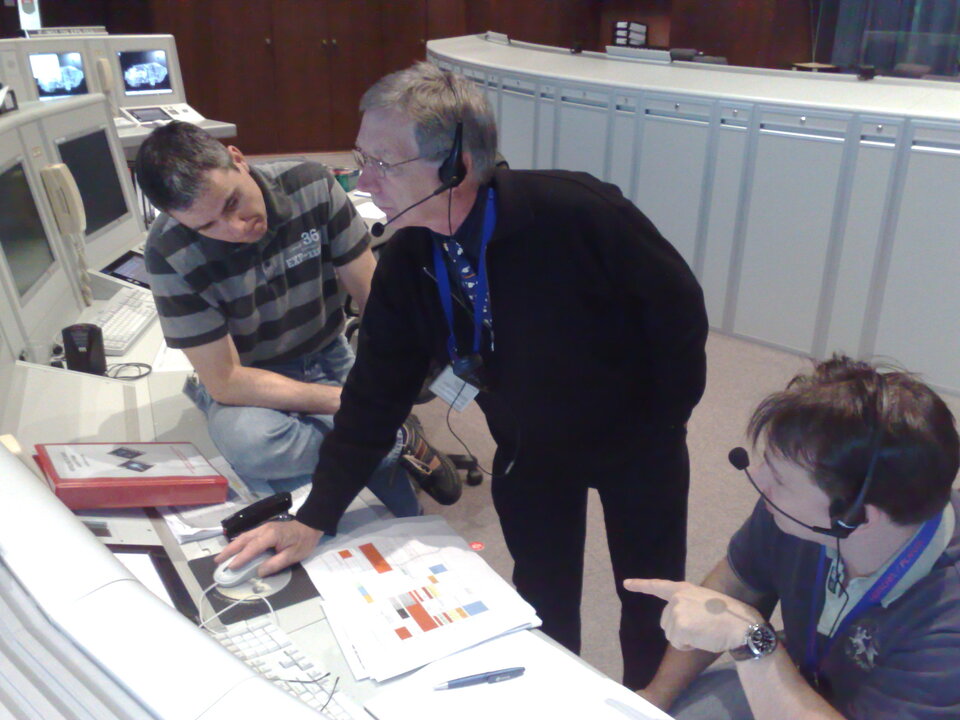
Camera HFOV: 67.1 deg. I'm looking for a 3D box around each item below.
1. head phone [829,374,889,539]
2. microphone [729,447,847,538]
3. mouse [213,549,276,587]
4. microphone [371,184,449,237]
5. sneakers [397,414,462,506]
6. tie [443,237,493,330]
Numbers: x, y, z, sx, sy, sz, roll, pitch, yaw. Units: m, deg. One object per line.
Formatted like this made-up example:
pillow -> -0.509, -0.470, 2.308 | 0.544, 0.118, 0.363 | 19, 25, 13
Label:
head phone -> 0.599, 0.164, 1.145 | 0.053, 0.209, 0.157 | 9, -13, 8
microphone -> 0.526, 0.220, 1.235 | 0.148, 0.118, 0.042 | 18, 53, 34
mouse -> -0.437, 0.375, 1.305 | 0.042, 0.026, 0.075 | 14, 21, 36
microphone -> -0.135, -0.300, 1.450 | 0.127, 0.033, 0.038 | -31, -13, 24
sneakers -> -0.167, 0.332, 2.291 | 0.121, 0.365, 0.143 | -33, 42, -3
tie -> -0.021, -0.161, 1.537 | 0.097, 0.184, 0.041 | -2, 7, 40
